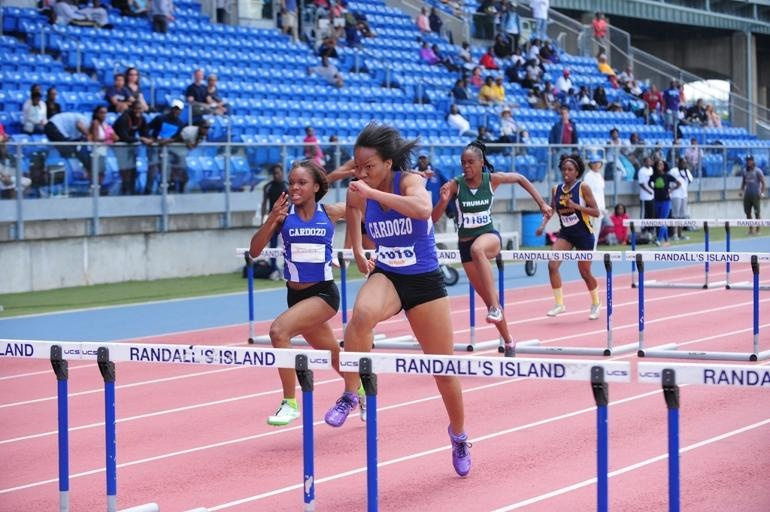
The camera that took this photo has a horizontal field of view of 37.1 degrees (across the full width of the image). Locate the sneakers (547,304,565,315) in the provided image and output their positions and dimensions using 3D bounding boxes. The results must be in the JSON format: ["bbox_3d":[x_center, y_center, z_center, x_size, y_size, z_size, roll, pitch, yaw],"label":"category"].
[{"bbox_3d":[2.738,0.864,18.435,0.367,0.156,0.129,-9,-2,-43],"label":"sneakers"}]

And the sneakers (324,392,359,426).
[{"bbox_3d":[-0.486,1.728,12.912,0.203,0.241,0.575,36,30,4],"label":"sneakers"}]

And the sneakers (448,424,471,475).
[{"bbox_3d":[0.795,2.105,12.442,0.208,0.583,0.228,-5,0,2],"label":"sneakers"}]
